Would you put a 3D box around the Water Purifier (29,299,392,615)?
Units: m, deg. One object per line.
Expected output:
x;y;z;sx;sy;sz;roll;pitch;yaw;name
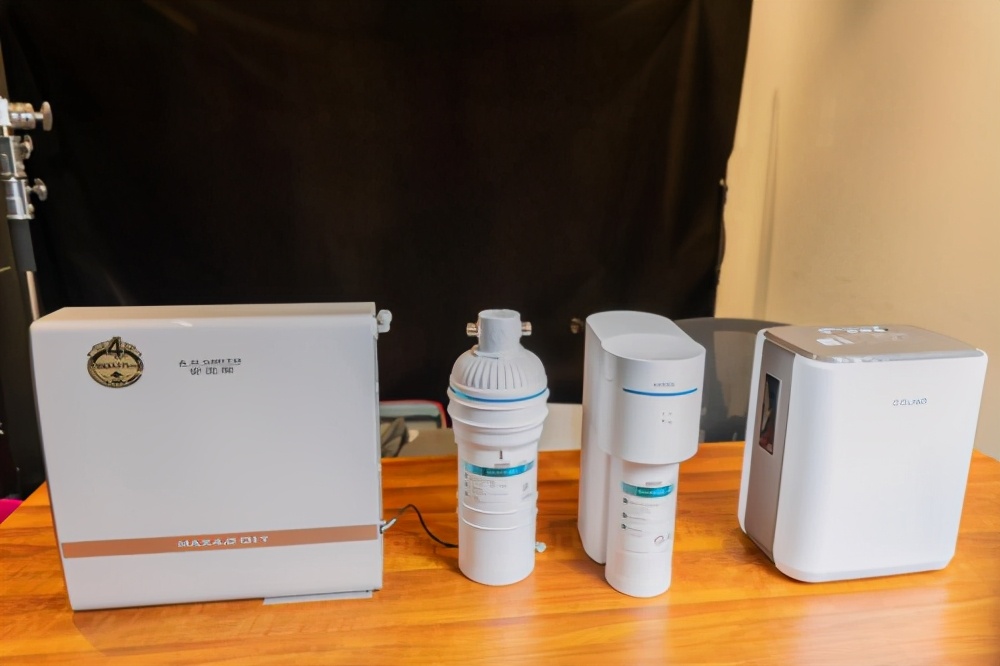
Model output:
-0.546;0.242;1.397;0.543;0.484;0.178;-3;13;-4;Water Purifier

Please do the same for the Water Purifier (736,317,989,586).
0.668;0.215;1.699;0.513;0.604;0.437;-2;11;-6;Water Purifier
